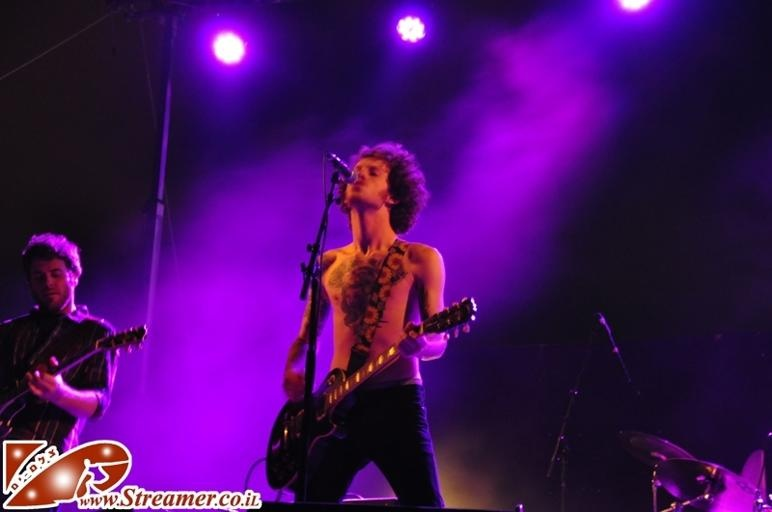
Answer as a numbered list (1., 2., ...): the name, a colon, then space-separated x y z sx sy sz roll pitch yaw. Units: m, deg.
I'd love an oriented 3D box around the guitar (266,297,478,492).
1. guitar: -0.351 1.379 6.763 2.189 1.360 0.371 -21 -45 35
